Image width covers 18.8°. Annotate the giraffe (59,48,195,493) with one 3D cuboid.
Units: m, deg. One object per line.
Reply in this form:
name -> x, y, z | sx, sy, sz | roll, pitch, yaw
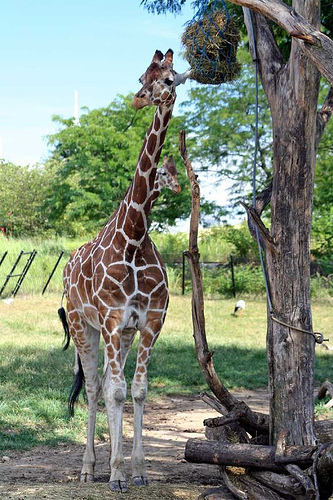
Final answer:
giraffe -> -0.390, 0.188, 9.035 | 0.790, 3.714, 1.553 | 0, -2, -27
